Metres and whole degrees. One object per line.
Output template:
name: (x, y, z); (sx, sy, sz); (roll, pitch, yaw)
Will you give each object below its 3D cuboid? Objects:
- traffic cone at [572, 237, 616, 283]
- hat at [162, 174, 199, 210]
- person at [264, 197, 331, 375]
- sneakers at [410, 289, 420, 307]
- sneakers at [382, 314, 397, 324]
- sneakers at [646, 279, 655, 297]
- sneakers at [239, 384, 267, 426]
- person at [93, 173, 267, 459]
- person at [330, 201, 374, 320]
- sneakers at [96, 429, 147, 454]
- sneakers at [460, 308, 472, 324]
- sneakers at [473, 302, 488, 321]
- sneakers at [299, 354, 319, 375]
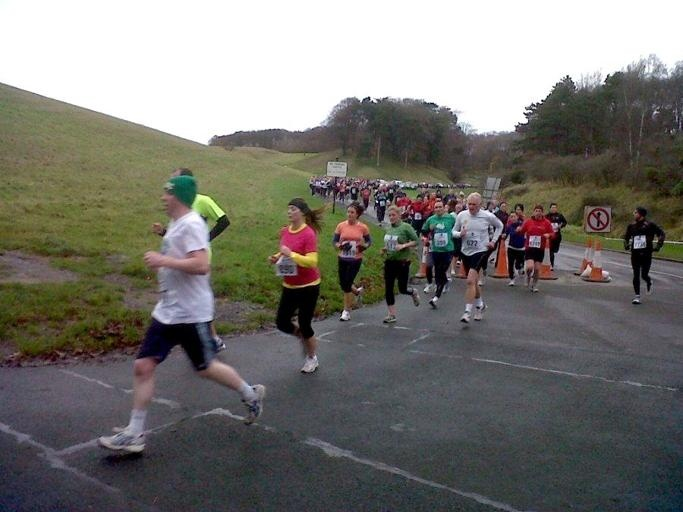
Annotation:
traffic cone: (10.670, 0.156, 19.561); (1.190, 1.280, 1.346); (-5, 14, -4)
hat: (-1.574, -0.660, 4.414); (0.278, 0.349, 0.399); (14, 18, 3)
person: (-0.615, 0.378, 6.365); (0.628, 2.324, 1.134); (1, 6, -3)
sneakers: (1.640, 0.958, 10.500); (0.160, 0.467, 0.199); (10, 44, 36)
sneakers: (0.939, 1.215, 9.142); (0.238, 0.170, 0.289); (2, 6, 6)
sneakers: (8.700, 0.920, 13.097); (0.178, 0.438, 0.143); (23, -2, -17)
sneakers: (-0.910, 1.518, 4.728); (0.199, 0.489, 0.165); (10, -11, -37)
person: (-1.528, 0.504, 4.376); (1.432, 2.513, 0.569); (-3, 6, -30)
person: (0.188, 0.088, 9.672); (0.739, 2.434, 1.454); (1, 6, -1)
sneakers: (-1.963, 1.661, 4.226); (0.421, 0.217, 0.185); (14, -10, -11)
sneakers: (2.427, 1.163, 9.057); (0.156, 0.230, 0.487); (3, 8, 15)
sneakers: (2.876, 1.161, 9.626); (0.109, 0.351, 0.164); (11, -16, 43)
sneakers: (-0.445, 1.460, 6.334); (0.123, 0.146, 0.338); (-7, 6, 20)
